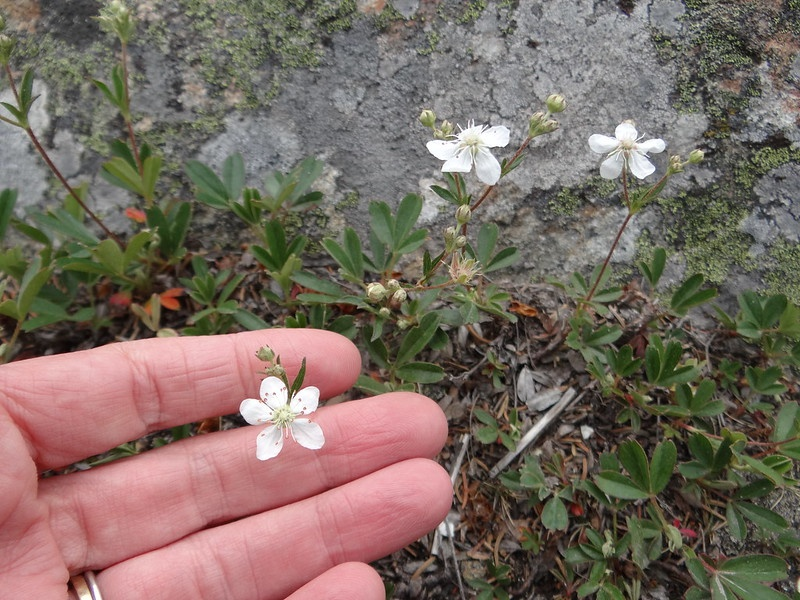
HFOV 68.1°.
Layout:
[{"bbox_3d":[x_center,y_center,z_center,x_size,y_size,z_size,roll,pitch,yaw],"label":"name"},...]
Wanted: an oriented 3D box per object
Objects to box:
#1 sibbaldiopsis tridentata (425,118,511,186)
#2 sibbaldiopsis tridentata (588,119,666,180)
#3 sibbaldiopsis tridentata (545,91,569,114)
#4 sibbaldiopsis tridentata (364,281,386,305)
[{"bbox_3d":[0.407,-0.857,3.470,0.447,0.257,0.295,-6,40,-11],"label":"sibbaldiopsis tridentata"},{"bbox_3d":[1.329,-0.867,3.559,0.311,0.327,0.341,-18,44,-24],"label":"sibbaldiopsis tridentata"},{"bbox_3d":[0.920,-1.167,3.503,0.095,0.123,0.167,14,41,14],"label":"sibbaldiopsis tridentata"},{"bbox_3d":[-0.145,-0.047,3.466,0.105,0.129,0.122,0,3,3],"label":"sibbaldiopsis tridentata"}]
